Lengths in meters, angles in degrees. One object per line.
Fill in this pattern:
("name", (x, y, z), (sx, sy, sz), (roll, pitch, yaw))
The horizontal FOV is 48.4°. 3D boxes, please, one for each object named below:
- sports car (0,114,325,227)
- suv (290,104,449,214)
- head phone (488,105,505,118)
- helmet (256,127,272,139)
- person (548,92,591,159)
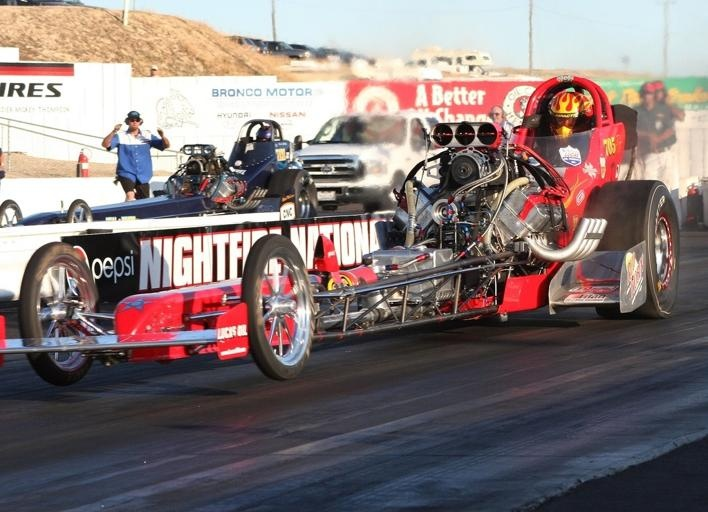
("sports car", (-2.902, -1.452, 13.344), (5.356, 1.495, 2.343), (-2, 1, -39))
("suv", (0.711, -2.829, 21.420), (3.355, 2.142, 5.468), (9, 19, 28))
("head phone", (2.359, -2.463, 13.097), (0.211, 0.193, 0.241), (8, -12, 21))
("helmet", (-1.611, -2.234, 14.210), (0.250, 0.196, 0.305), (10, -7, -32))
("person", (2.392, -1.508, 8.797), (0.570, 0.721, 0.451), (-1, 34, 8))
